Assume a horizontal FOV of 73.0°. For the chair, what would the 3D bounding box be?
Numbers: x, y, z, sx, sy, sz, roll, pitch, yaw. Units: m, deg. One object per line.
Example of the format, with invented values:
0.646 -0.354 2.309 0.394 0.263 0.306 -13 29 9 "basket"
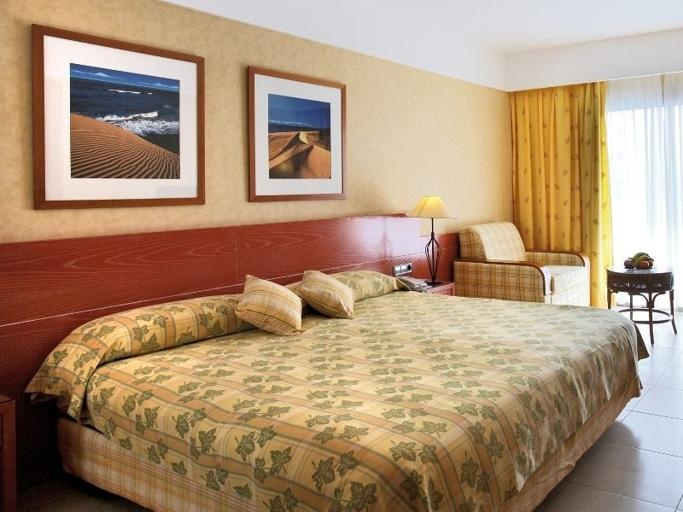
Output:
2.244 0.155 5.831 1.437 1.059 1.526 0 3 42 "chair"
